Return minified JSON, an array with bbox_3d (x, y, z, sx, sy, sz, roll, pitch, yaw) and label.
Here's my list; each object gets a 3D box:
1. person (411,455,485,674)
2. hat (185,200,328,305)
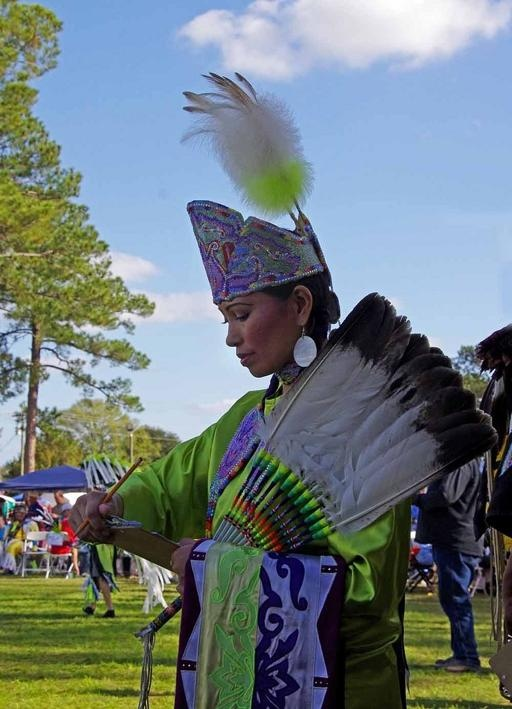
[{"bbox_3d":[1.167,1.262,5.869,0.396,1.239,0.512,-2,-12,9],"label":"person"},{"bbox_3d":[-0.008,-0.302,3.039,0.457,0.224,0.349,-3,0,-20],"label":"hat"}]
